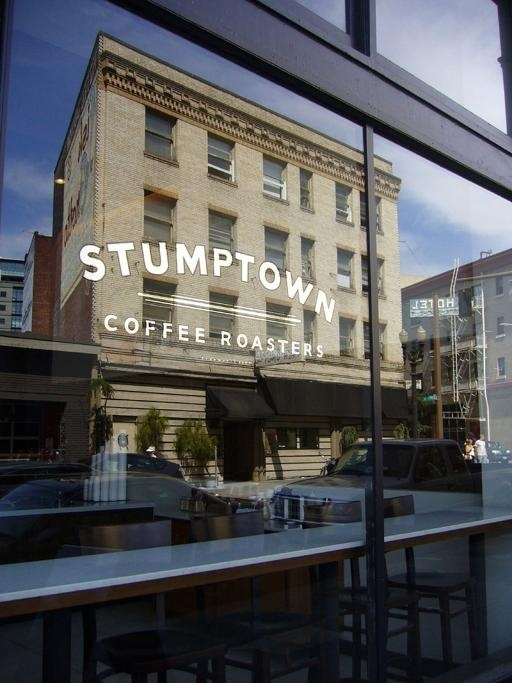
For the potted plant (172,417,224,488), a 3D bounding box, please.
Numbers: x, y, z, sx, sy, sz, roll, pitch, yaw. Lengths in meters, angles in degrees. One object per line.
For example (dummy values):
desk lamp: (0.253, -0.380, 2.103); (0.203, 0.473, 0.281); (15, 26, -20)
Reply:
potted plant: (-0.277, 0.485, 2.836); (0.164, 0.246, 0.076); (18, -48, -38)
